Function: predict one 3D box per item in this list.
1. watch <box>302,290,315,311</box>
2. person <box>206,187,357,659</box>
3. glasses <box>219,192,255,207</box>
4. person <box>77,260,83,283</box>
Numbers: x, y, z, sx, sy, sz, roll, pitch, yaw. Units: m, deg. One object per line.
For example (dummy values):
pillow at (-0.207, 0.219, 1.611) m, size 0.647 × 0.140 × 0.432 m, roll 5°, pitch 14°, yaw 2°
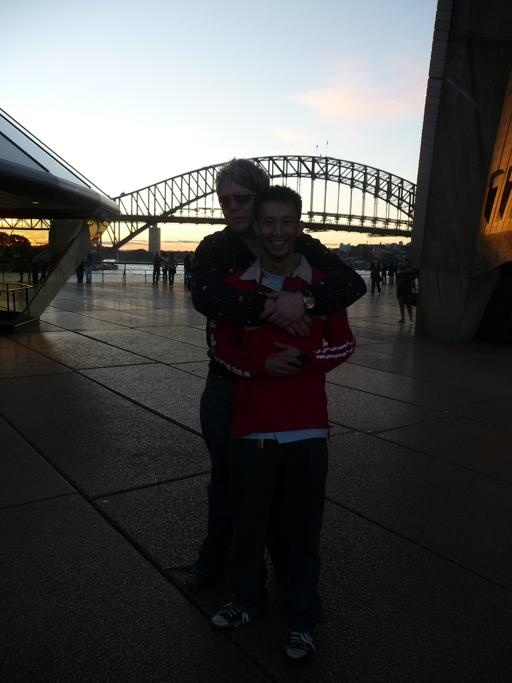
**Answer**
watch at (0.174, -0.130, 1.518) m, size 0.034 × 0.068 × 0.059 m, roll -5°, pitch 11°, yaw -4°
person at (0.106, 0.253, 1.629) m, size 0.442 × 1.603 × 0.412 m, roll 3°, pitch 3°, yaw 18°
glasses at (-0.081, -0.561, 1.776) m, size 0.066 × 0.028 × 0.074 m, roll -3°, pitch -3°, yaw 14°
person at (-10.054, -3.836, 25.883) m, size 0.266 × 1.071 × 1.346 m, roll 1°, pitch 3°, yaw -27°
